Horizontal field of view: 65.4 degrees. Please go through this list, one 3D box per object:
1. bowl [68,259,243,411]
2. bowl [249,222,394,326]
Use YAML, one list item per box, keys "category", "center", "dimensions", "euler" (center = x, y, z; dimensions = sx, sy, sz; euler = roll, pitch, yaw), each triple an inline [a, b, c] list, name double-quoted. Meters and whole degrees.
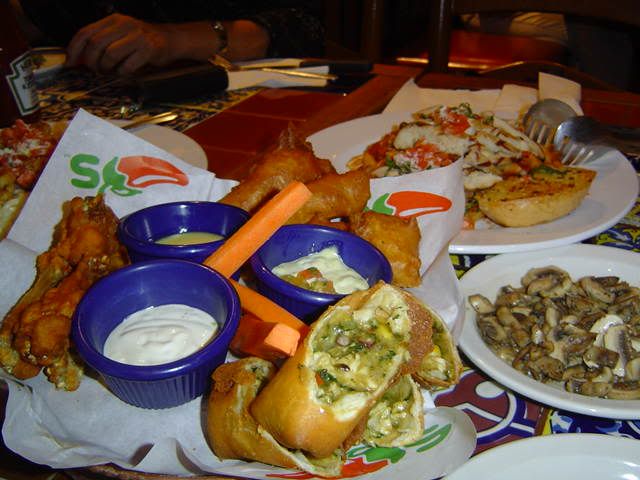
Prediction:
- category: "bowl"
  center: [-0.428, 0.247, 1.397]
  dimensions: [0.421, 0.179, 0.406]
  euler: [3, 39, -3]
- category: "bowl"
  center: [0.000, 0.088, 1.516]
  dimensions: [0.358, 0.145, 0.373]
  euler: [-2, 49, 3]
